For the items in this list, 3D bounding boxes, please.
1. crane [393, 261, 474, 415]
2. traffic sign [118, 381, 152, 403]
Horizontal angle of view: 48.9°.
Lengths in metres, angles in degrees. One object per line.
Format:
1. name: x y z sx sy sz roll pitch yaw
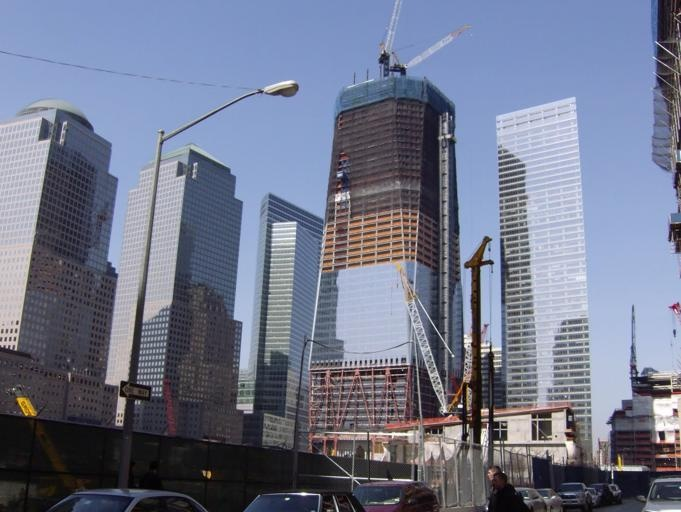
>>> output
1. crane: 26.362 24.500 234.852 12.963 54.150 27.476 -5 -21 7
2. traffic sign: -7.515 4.876 27.320 1.010 0.804 2.089 1 -22 -11
